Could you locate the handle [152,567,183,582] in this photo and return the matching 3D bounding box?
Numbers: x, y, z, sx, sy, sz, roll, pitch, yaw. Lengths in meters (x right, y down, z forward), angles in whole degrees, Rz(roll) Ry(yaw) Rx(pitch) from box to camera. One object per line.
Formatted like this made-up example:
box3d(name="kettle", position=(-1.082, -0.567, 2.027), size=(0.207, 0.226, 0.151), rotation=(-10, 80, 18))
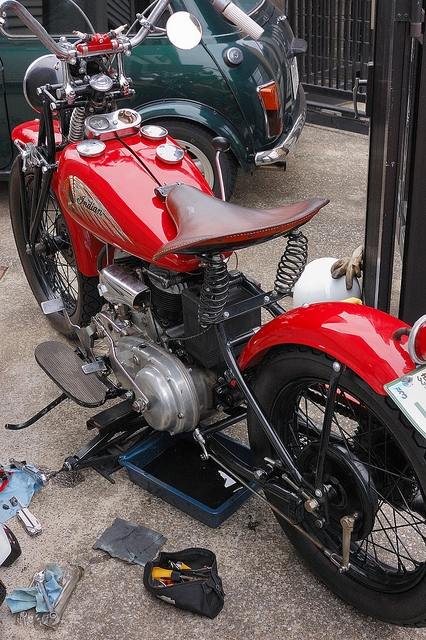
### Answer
box3d(name="handle", position=(-0.130, 0.708, 1.368), size=(0.063, 0.035, 0.017), rotation=(11, 8, 18))
